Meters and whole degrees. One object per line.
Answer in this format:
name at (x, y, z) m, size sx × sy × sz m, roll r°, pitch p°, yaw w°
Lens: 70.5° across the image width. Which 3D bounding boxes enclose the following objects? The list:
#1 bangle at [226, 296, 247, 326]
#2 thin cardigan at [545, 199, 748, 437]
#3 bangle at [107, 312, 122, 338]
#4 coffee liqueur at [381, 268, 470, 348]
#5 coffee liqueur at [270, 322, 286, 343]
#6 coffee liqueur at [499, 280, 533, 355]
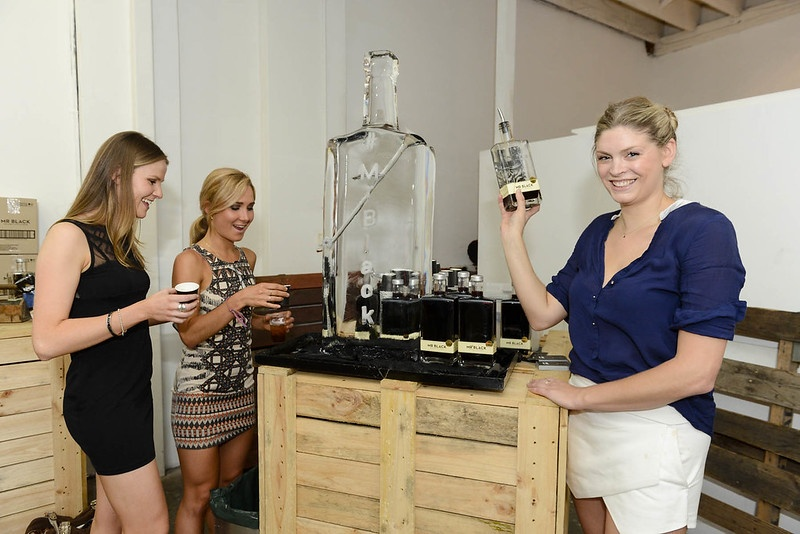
bangle at (-0.855, 0.245, 3.000) m, size 0.132 × 0.145 × 0.055 m, roll 8°, pitch 16°, yaw 5°
thin cardigan at (1.030, 0.105, 2.425) m, size 0.767 × 0.769 × 0.263 m, roll 3°, pitch 6°, yaw 33°
bangle at (-1.272, 0.253, 2.540) m, size 0.033 × 0.101 × 0.084 m, roll -3°, pitch 2°, yaw 20°
coffee liqueur at (0.105, 0.189, 2.478) m, size 0.300 × 0.293 × 0.102 m, roll 4°, pitch 7°, yaw 27°
coffee liqueur at (-0.651, 0.345, 3.030) m, size 0.087 × 0.104 × 0.093 m, roll 0°, pitch 2°, yaw 9°
coffee liqueur at (0.551, 0.253, 2.705) m, size 0.199 × 0.288 × 0.203 m, roll 3°, pitch -5°, yaw -29°
